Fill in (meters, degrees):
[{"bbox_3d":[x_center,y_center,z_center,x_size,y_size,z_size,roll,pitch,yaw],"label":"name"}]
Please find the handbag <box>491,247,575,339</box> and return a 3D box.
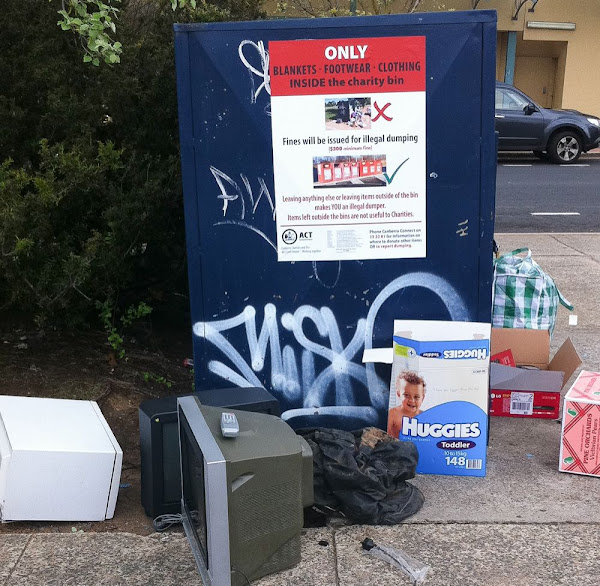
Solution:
[{"bbox_3d":[1.617,-0.026,5.340,0.581,0.671,0.664,-1,5,5],"label":"handbag"}]
